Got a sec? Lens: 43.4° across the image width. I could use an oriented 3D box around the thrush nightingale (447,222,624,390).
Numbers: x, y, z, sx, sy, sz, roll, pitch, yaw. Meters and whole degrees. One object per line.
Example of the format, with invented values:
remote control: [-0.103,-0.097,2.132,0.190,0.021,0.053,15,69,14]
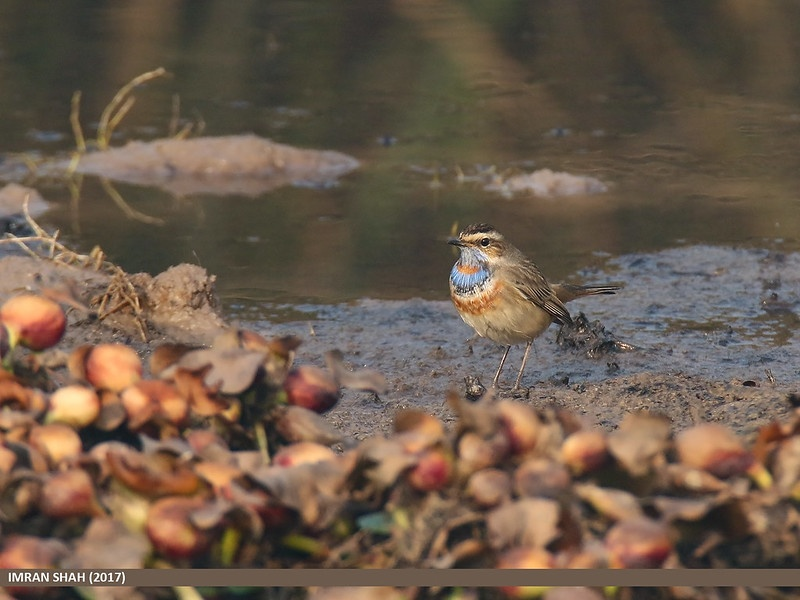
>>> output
thrush nightingale: [0.657,0.026,5.231,1.165,0.711,0.536,-3,10,-40]
